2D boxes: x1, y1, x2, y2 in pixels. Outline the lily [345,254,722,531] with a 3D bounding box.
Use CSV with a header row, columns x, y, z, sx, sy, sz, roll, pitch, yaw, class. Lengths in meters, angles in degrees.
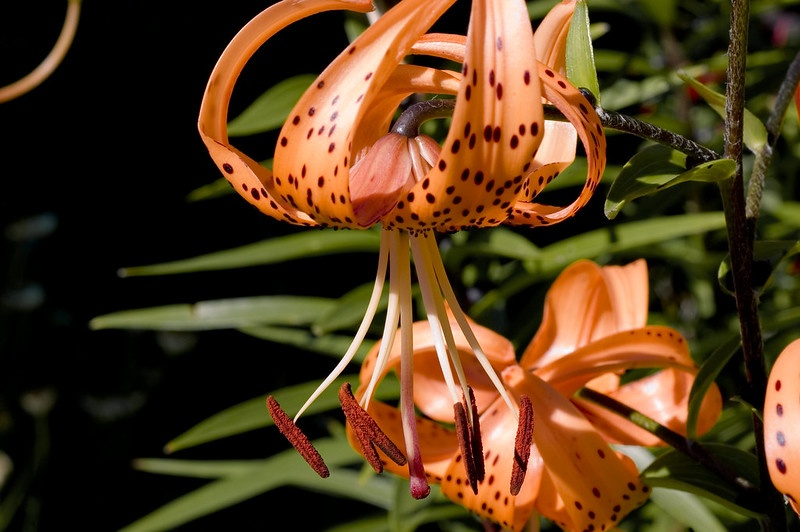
x,y,z,sx,sy,sz,roll,pitch,yaw,class
0.223,0.208,1.452,0.548,0.470,0.267,-28,-48,-21,lily
